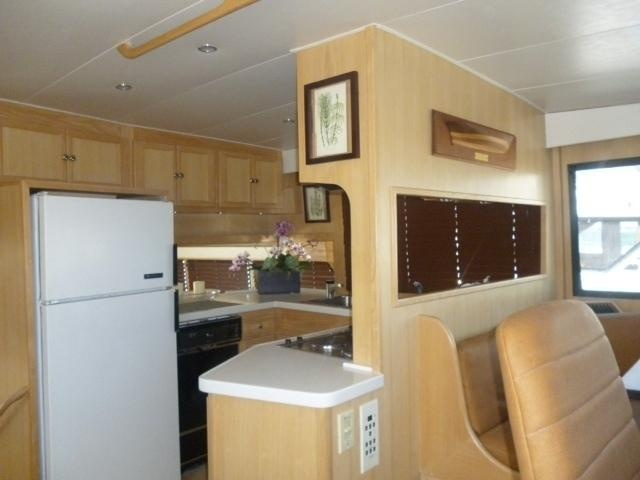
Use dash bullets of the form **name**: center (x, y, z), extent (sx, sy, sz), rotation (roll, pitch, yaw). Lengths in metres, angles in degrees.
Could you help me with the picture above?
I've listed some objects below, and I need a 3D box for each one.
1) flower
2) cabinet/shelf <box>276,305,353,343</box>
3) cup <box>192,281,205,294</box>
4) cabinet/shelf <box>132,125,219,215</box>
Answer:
- **flower**: center (-0.483, 0.096, 4.701), extent (0.637, 0.466, 0.507), rotation (-1, -5, -12)
- **cabinet/shelf**: center (-0.111, 0.718, 4.180), extent (0.297, 0.338, 0.530), rotation (1, -5, -36)
- **cup**: center (-1.180, 0.463, 4.683), extent (0.112, 0.123, 0.108), rotation (1, 2, 0)
- **cabinet/shelf**: center (-1.244, -0.582, 4.363), extent (0.723, 0.621, 0.289), rotation (6, 16, 7)
